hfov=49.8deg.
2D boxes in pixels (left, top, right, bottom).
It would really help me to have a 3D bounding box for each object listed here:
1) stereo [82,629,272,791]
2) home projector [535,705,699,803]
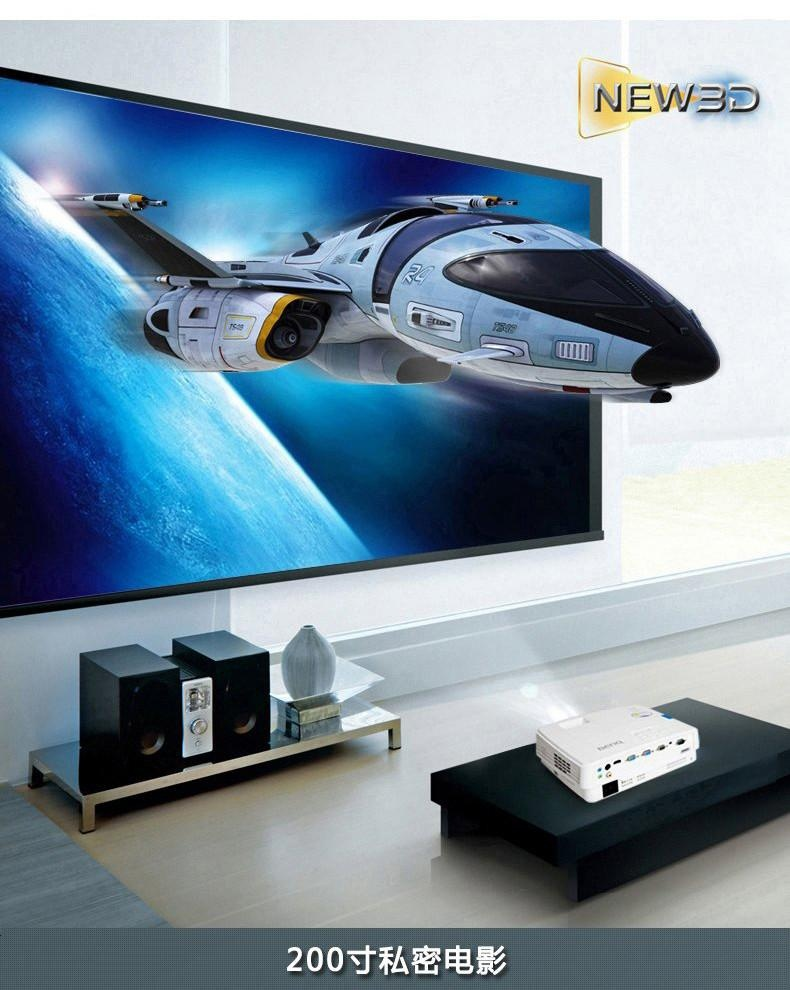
[{"bbox_3d":[-0.601,0.561,2.310,0.268,0.247,0.473,8,5,40],"label":"stereo"},{"bbox_3d":[0.521,0.596,1.983,0.243,0.061,0.176,-5,6,-32],"label":"home projector"}]
